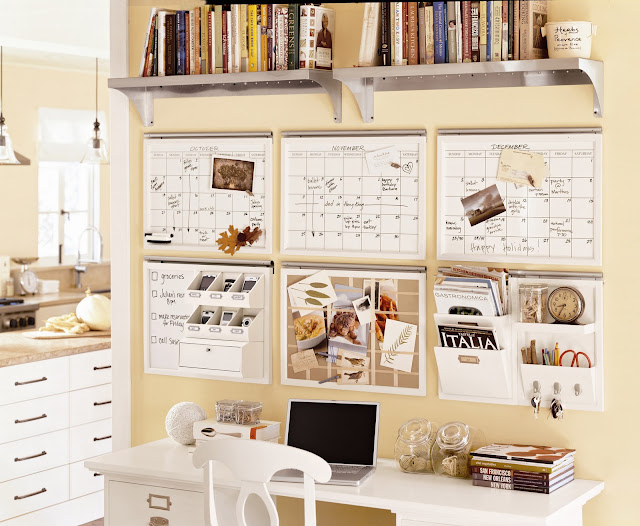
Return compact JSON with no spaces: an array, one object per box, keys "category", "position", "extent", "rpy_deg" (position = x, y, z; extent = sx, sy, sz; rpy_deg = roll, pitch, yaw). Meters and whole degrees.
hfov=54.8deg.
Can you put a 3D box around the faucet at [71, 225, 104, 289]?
[{"category":"faucet","position":[-2.304,-0.075,6.168],"extent":[0.265,0.628,0.325],"rpy_deg":[0,2,-21]}]

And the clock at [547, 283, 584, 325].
[{"category":"clock","position":[0.828,0.141,2.078],"extent":[0.123,0.157,0.047],"rpy_deg":[1,-1,35]}]

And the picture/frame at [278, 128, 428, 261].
[{"category":"picture/frame","position":[0.153,-0.271,2.377],"extent":[0.465,0.432,0.024],"rpy_deg":[1,1,17]}]

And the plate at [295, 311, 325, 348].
[{"category":"plate","position":[-0.040,0.261,2.448],"extent":[0.120,0.135,0.057],"rpy_deg":[0,-3,23]}]

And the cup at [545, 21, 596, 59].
[{"category":"cup","position":[0.812,-0.709,2.014],"extent":[0.146,0.114,0.130],"rpy_deg":[-4,8,-32]}]

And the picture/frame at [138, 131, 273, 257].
[{"category":"picture/frame","position":[-0.457,-0.296,2.599],"extent":[0.485,0.430,0.027],"rpy_deg":[1,2,19]}]

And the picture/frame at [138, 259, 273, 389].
[{"category":"picture/frame","position":[-0.454,0.245,2.573],"extent":[0.499,0.479,0.166],"rpy_deg":[1,-1,17]}]

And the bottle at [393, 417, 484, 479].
[{"category":"bottle","position":[0.385,0.551,2.108],"extent":[0.283,0.202,0.152],"rpy_deg":[0,4,26]}]

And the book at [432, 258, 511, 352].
[{"category":"book","position":[0.527,0.152,2.157],"extent":[0.257,0.281,0.209],"rpy_deg":[1,2,15]}]

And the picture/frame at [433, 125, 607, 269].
[{"category":"picture/frame","position":[0.727,-0.236,2.166],"extent":[0.464,0.416,0.022],"rpy_deg":[1,1,19]}]

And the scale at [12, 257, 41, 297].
[{"category":"scale","position":[-2.650,0.111,5.573],"extent":[0.178,0.346,0.213],"rpy_deg":[6,8,25]}]

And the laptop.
[{"category":"laptop","position":[0.046,0.590,2.205],"extent":[0.274,0.195,0.222],"rpy_deg":[0,-1,18]}]

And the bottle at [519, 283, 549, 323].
[{"category":"bottle","position":[0.730,0.135,2.102],"extent":[0.107,0.128,0.072],"rpy_deg":[1,2,5]}]

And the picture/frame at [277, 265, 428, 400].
[{"category":"picture/frame","position":[0.151,0.263,2.384],"extent":[0.475,0.440,0.022],"rpy_deg":[1,1,19]}]
